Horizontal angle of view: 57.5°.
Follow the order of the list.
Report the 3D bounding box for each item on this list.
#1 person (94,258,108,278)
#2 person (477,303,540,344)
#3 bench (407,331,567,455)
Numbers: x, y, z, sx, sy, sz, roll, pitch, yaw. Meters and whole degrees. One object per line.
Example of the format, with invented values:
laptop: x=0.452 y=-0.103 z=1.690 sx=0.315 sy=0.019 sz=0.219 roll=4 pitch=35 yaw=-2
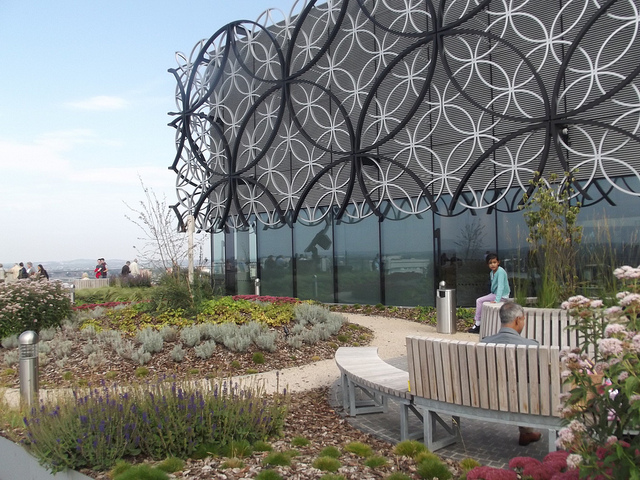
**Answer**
person: x=-11.888 y=1.571 z=31.924 sx=0.469 sy=0.993 sz=1.033 roll=-2 pitch=-3 yaw=7
person: x=2.625 y=1.290 z=8.046 sx=0.441 sy=0.810 sz=0.923 roll=5 pitch=-7 yaw=-27
bench: x=2.128 y=2.119 z=7.992 sx=1.688 sy=1.545 sz=0.949 roll=-1 pitch=2 yaw=44
